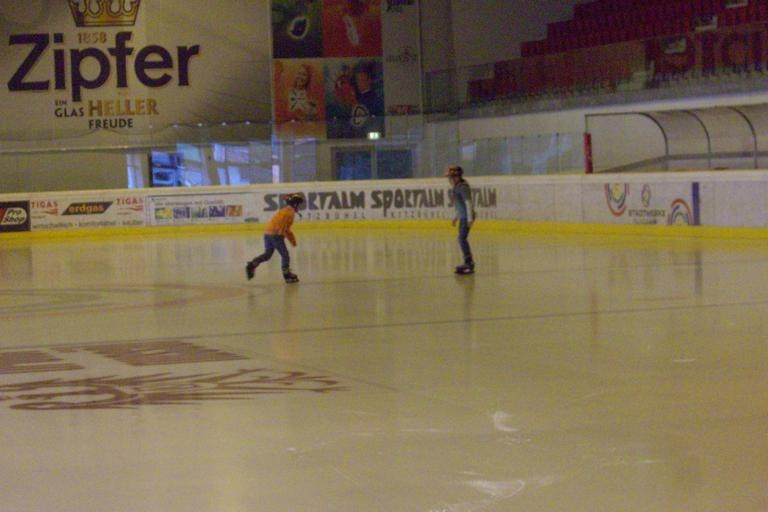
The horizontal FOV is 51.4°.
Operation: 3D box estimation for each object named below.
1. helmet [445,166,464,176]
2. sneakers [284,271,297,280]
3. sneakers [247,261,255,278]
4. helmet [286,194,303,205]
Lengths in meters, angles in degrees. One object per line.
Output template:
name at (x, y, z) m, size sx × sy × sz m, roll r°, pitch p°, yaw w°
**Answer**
helmet at (1.359, -1.687, 15.502) m, size 0.249 × 0.190 × 0.667 m, roll 1°, pitch 15°, yaw 8°
sneakers at (-1.749, 0.328, 14.646) m, size 0.238 × 0.154 × 0.270 m, roll -3°, pitch 15°, yaw -5°
sneakers at (-2.470, 0.247, 14.663) m, size 0.119 × 0.363 × 0.159 m, roll 3°, pitch 1°, yaw -2°
helmet at (-1.656, -1.029, 14.587) m, size 0.262 × 0.225 × 0.410 m, roll -2°, pitch 15°, yaw -3°
